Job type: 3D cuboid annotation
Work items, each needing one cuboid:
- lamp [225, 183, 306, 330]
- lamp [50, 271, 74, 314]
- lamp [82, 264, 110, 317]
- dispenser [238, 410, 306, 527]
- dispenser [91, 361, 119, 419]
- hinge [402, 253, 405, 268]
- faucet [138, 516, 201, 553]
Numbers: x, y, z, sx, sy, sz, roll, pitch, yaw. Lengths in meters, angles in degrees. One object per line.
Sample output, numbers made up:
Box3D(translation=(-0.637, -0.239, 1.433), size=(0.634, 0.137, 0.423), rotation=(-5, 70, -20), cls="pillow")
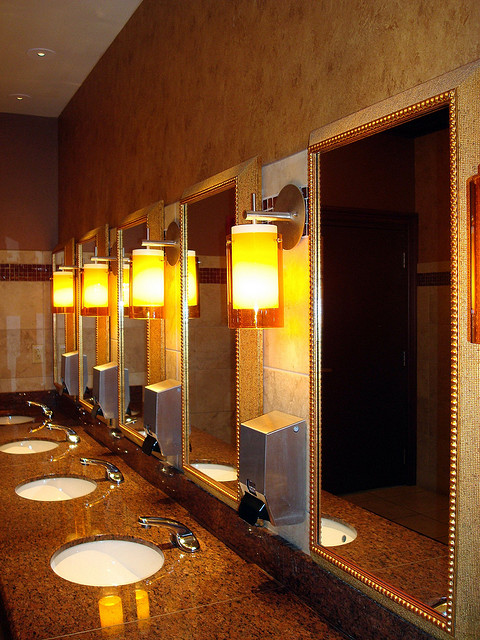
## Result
Box3D(translation=(0.038, -0.136, 1.181), size=(0.148, 0.314, 0.211), rotation=(-1, -1, -14), cls="lamp")
Box3D(translation=(-1.028, -0.160, 3.206), size=(0.122, 0.249, 0.259), rotation=(0, -1, -18), cls="lamp")
Box3D(translation=(-0.646, -0.125, 2.492), size=(0.119, 0.237, 0.128), rotation=(-6, -12, 21), cls="lamp")
Box3D(translation=(0.059, 0.314, 1.177), size=(0.109, 0.223, 0.179), rotation=(-1, -1, -17), cls="dispenser")
Box3D(translation=(-0.597, 0.315, 2.457), size=(0.091, 0.254, 0.214), rotation=(0, -1, -19), cls="dispenser")
Box3D(translation=(0.237, -0.086, 0.807), size=(0.005, 0.027, 0.013), rotation=(0, 4, 14), cls="hinge")
Box3D(translation=(-0.172, 0.532, 1.383), size=(0.122, 0.065, 0.087), rotation=(7, 7, -43), cls="faucet")
